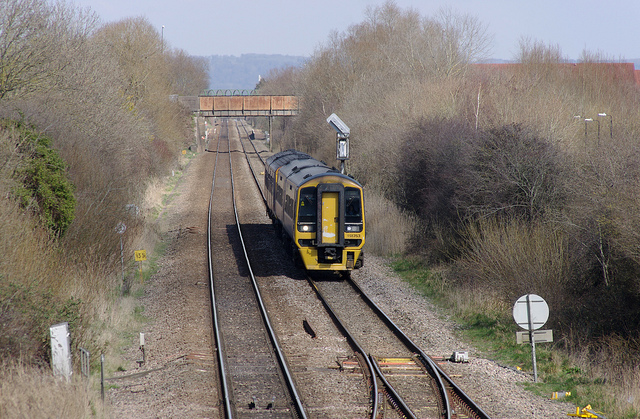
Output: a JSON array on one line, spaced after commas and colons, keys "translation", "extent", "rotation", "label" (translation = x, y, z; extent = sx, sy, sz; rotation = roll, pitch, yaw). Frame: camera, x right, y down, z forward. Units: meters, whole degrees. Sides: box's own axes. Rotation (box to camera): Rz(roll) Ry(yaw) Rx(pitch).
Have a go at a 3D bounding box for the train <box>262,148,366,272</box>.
[{"translation": [-0.442, 0.223, 36.860], "extent": [3.170, 5.753, 7.871], "rotation": [0, 5, -14], "label": "train"}]
